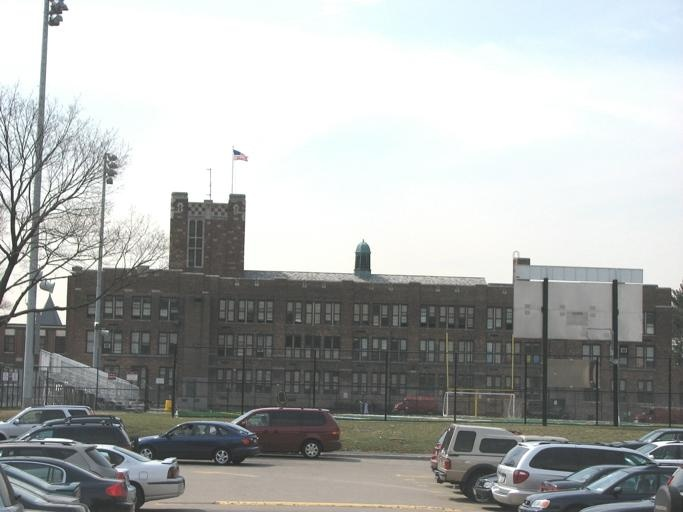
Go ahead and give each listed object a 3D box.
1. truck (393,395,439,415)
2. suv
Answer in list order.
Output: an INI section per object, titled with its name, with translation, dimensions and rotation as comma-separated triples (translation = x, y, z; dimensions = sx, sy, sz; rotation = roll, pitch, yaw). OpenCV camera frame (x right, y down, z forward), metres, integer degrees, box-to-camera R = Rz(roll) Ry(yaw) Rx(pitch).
[truck]
translation = 6.137, 12.087, 129.157
dimensions = 3.591, 1.662, 3.018
rotation = 0, -10, 2
[suv]
translation = -2.918, 9.913, 89.218
dimensions = 5.887, 2.406, 2.640
rotation = 4, -8, -3
